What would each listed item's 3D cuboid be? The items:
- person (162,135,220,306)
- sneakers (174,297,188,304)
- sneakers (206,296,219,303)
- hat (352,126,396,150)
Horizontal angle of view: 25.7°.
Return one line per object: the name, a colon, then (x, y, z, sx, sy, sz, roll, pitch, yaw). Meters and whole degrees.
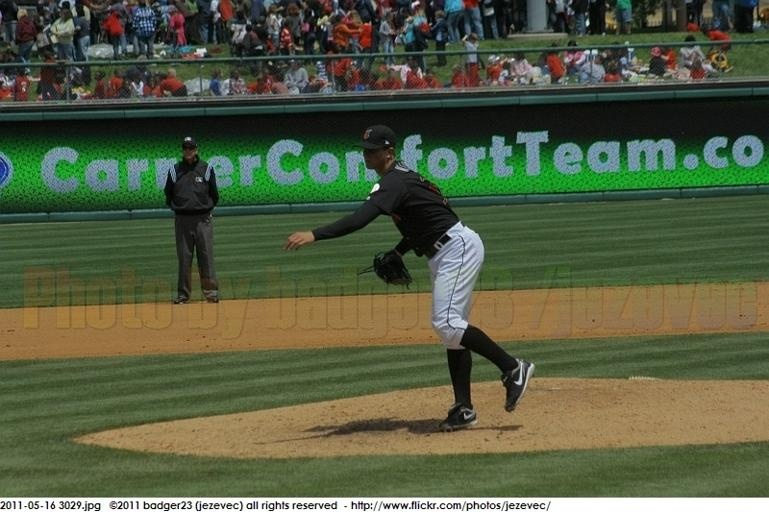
person: (-3.430, -0.633, 30.359, 0.904, 2.950, 0.540, -4, 5, -6)
sneakers: (-3.642, 0.778, 30.304, 0.287, 0.108, 0.093, 4, 19, 5)
sneakers: (-3.082, 0.776, 30.389, 0.164, 0.044, 0.112, 1, 9, 11)
hat: (-0.120, -1.781, 25.486, 0.531, 0.259, 0.366, 4, 7, -7)
